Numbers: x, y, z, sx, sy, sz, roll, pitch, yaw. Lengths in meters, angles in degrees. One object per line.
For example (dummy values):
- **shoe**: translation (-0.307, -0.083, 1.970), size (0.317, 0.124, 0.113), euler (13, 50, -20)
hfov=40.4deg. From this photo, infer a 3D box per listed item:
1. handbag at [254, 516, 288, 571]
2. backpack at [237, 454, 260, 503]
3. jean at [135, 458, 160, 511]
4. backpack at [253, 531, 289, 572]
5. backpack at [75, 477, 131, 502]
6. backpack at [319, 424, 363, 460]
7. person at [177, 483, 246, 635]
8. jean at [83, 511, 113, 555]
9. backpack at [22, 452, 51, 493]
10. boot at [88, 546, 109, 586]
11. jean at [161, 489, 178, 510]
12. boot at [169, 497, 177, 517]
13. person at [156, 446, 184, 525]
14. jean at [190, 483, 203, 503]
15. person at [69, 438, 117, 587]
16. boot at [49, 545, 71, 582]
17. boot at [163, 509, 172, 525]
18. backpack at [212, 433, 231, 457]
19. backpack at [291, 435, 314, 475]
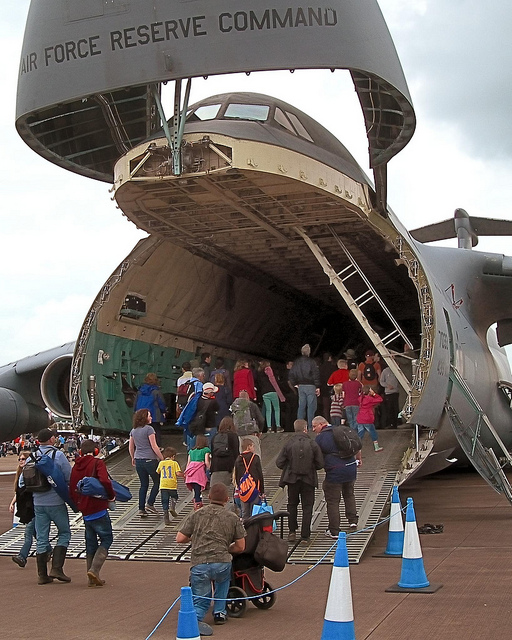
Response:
- **handbag**: translation (0.118, 1.716, 5.480), size (0.294, 0.327, 0.471), euler (-9, 36, 5)
- **backpack**: translation (-0.093, 1.802, 7.666), size (0.324, 0.425, 0.480), euler (1, 14, -3)
- **jean**: translation (-1.462, 2.233, 9.427), size (0.314, 0.736, 0.571), euler (-1, -5, -10)
- **backpack**: translation (0.099, 1.875, 5.596), size (0.314, 0.280, 0.107), euler (20, -49, -6)
- **backpack**: translation (-1.471, 1.712, 6.863), size (0.496, 0.139, 0.271), euler (13, 1, -27)
- **backpack**: translation (1.033, 1.470, 8.343), size (0.443, 0.367, 0.322), euler (-21, -10, 30)
- **person**: translation (-0.330, 1.796, 5.240), size (0.506, 1.089, 0.620), euler (-2, -5, -2)
- **jean**: translation (-1.577, 2.138, 6.878), size (0.222, 0.452, 0.427), euler (1, -6, -35)
- **backpack**: translation (-2.244, 1.545, 7.138), size (0.246, 0.309, 0.199), euler (-9, -3, 20)
- **boot**: translation (-1.523, 2.398, 6.738), size (0.180, 0.397, 0.284), euler (-1, -5, -12)
- **jean**: translation (-1.145, 2.360, 9.188), size (0.164, 0.260, 0.354), euler (-3, -5, 8)
- **boot**: translation (-1.059, 2.506, 9.212), size (0.095, 0.237, 0.170), euler (0, 36, 7)
- **person**: translation (-1.124, 2.194, 9.186), size (0.343, 0.980, 0.473), euler (-1, -6, -10)
- **jean**: translation (-0.789, 2.301, 9.205), size (0.142, 0.272, 0.161), euler (-2, -5, -1)
- **person**: translation (-1.707, 2.019, 7.350), size (0.442, 1.465, 1.470), euler (-1, -5, -12)
- **boot**: translation (-1.996, 2.500, 7.125), size (0.208, 0.392, 0.305), euler (-1, -5, -15)
- **boot**: translation (-1.141, 2.579, 9.102), size (0.098, 0.200, 0.231), euler (-2, -5, -8)
- **backpack**: translation (-0.411, 1.560, 8.602), size (0.308, 0.332, 0.203), euler (-3, -18, 18)
- **backpack**: translation (0.532, 1.576, 7.954), size (0.384, 0.479, 0.276), euler (3, -33, 3)
